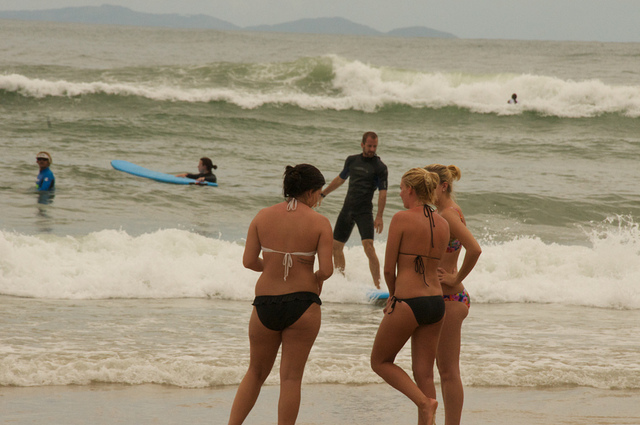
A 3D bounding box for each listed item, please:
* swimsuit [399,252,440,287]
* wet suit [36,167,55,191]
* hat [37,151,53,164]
[{"bbox_3d":[2.478,1.444,29.331,0.961,0.594,0.100,2,-13,-6],"label":"swimsuit"},{"bbox_3d":[-8.711,-1.025,36.877,0.457,0.618,0.779,1,12,-46],"label":"wet suit"},{"bbox_3d":[-8.600,-1.710,36.422,0.447,0.310,0.357,0,6,-31],"label":"hat"}]
